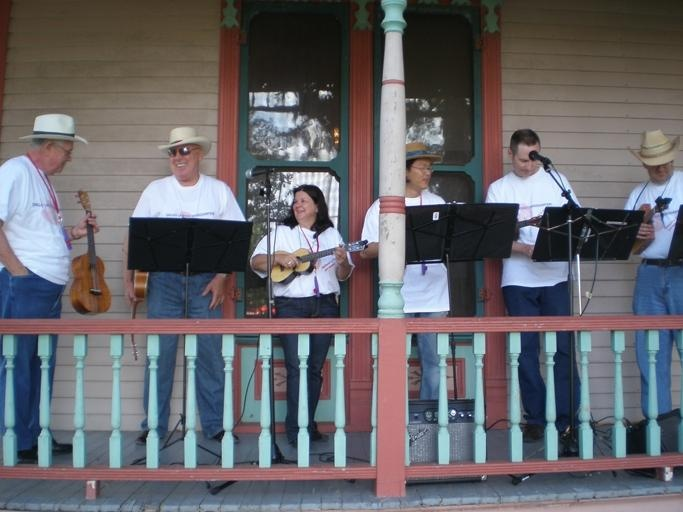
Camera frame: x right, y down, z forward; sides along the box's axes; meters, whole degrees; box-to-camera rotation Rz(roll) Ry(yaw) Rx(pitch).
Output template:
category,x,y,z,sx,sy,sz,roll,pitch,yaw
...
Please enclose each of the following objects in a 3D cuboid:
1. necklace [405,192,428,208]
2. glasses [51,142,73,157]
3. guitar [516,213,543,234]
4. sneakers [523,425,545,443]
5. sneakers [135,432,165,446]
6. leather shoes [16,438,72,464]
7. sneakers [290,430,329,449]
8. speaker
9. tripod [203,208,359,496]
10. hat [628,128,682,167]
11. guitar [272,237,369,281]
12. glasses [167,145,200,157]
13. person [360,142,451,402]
category,x,y,z,sx,sy,sz,roll,pitch,yaw
necklace,0.591,-0.449,10.573,0.162,0.072,0.211,-2,3,10
glasses,-2.191,-0.838,10.322,0.136,0.119,0.116,-11,23,-38
guitar,1.456,-0.258,10.393,0.221,0.069,0.083,-20,-23,5
sneakers,1.530,1.414,10.528,0.155,0.120,0.177,2,6,5
sneakers,-1.535,1.448,10.637,0.235,0.103,0.375,1,6,-5
leather shoes,-2.267,1.516,10.145,0.398,0.154,0.120,-13,16,-35
sneakers,-0.244,1.438,10.522,0.346,0.131,0.116,-6,18,-25
speaker,2.308,1.377,9.811,0.387,0.508,0.383,3,6,11
tripod,-0.603,0.643,10.173,0.743,2.027,1.514,1,6,-1
hat,2.551,-0.896,10.658,0.302,0.148,0.356,-15,24,34
guitar,-0.210,0.025,10.576,0.764,0.096,0.275,-17,46,10
glasses,-1.255,-0.852,10.610,0.257,0.106,0.131,0,6,-12
person,0.520,0.093,10.559,0.704,1.991,0.922,1,6,-6
